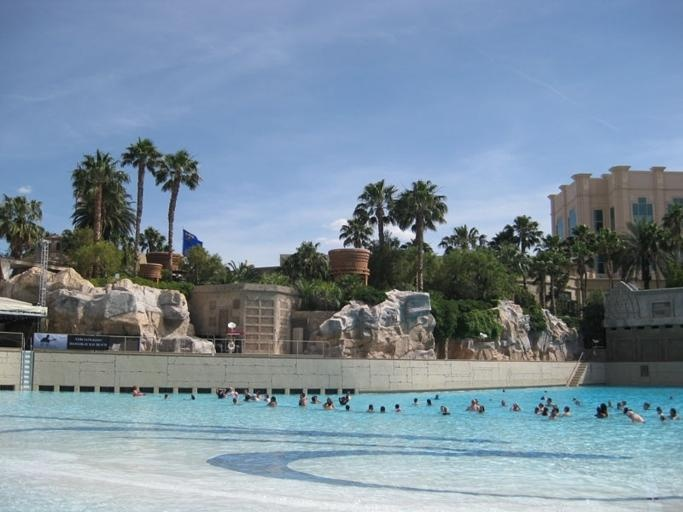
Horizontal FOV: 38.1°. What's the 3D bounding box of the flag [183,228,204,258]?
[{"bbox_3d":[-11.527,-0.673,76.067,1.988,2.817,0.262,2,-11,-14],"label":"flag"}]
